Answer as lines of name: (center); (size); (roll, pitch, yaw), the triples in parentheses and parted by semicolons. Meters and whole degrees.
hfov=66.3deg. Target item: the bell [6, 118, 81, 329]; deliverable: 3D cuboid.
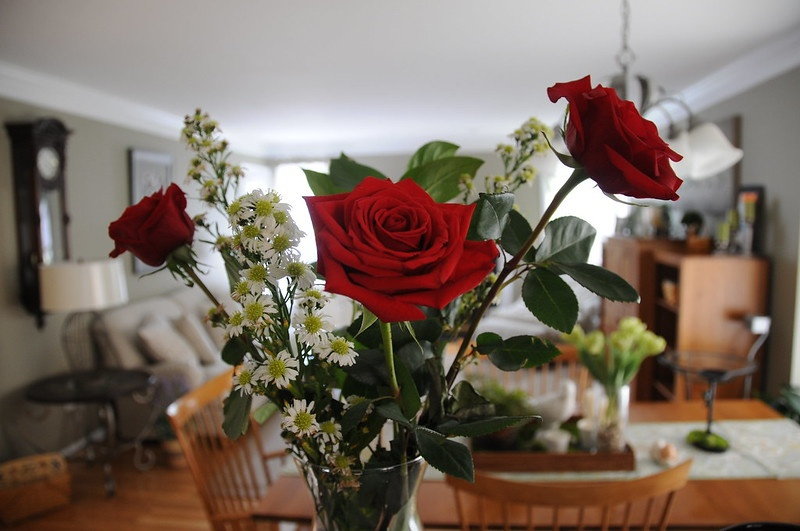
bell: (-0.656, -0.080, 1.122); (0.100, 0.370, 0.037); (-2, 1, -28)

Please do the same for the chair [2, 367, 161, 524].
chair: (-0.599, 0.341, 1.253); (0.298, 0.285, 0.185); (4, -7, -16)

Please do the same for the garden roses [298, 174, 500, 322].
garden roses: (0.004, -0.029, 0.915); (0.285, 0.214, 0.109); (-1, 1, -7)

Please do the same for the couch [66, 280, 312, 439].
couch: (-0.429, 0.185, 1.172); (0.294, 0.302, 0.222); (3, -19, -34)

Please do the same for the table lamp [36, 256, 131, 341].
table lamp: (-0.584, 0.043, 1.130); (0.109, 0.076, 0.112); (-2, -4, 20)

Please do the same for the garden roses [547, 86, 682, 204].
garden roses: (0.320, -0.175, 0.993); (0.186, 0.186, 0.086); (-20, -15, -21)

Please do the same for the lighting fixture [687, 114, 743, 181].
lighting fixture: (0.996, -0.397, 1.942); (0.130, 0.168, 0.408); (-1, 0, 21)

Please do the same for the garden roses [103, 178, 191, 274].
garden roses: (-0.407, -0.041, 1.009); (0.124, 0.064, 0.112); (-13, -13, -40)
